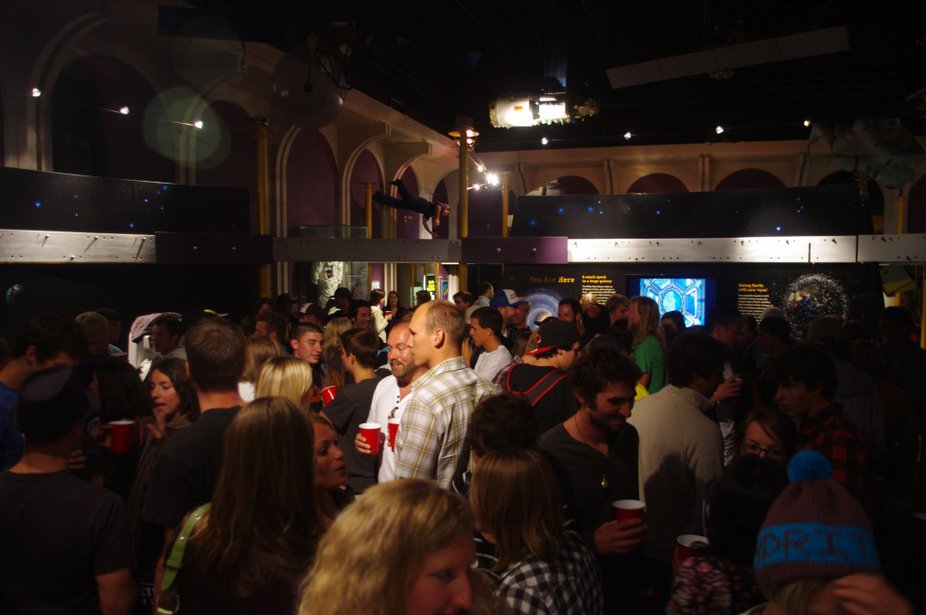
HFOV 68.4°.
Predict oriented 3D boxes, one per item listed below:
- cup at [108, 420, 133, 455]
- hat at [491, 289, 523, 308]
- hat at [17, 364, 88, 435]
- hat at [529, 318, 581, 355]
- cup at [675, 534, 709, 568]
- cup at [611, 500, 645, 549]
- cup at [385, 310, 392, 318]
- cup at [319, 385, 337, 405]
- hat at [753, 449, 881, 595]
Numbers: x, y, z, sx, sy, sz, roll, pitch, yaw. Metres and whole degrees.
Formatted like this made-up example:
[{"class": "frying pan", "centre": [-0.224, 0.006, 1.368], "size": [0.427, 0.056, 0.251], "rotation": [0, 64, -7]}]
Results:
[{"class": "cup", "centre": [-2.233, 0.843, 4.559], "size": [0.207, 0.208, 0.141], "rotation": [0, 1, 3]}, {"class": "hat", "centre": [0.525, -0.113, 8.787], "size": [0.312, 0.178, 0.230], "rotation": [-3, 3, 8]}, {"class": "hat", "centre": [-2.331, 0.516, 3.841], "size": [0.355, 0.293, 0.479], "rotation": [-9, 28, -25]}, {"class": "hat", "centre": [0.744, 0.227, 5.396], "size": [0.317, 0.186, 0.224], "rotation": [-3, 5, -9]}, {"class": "cup", "centre": [1.263, 1.343, 3.814], "size": [0.170, 0.179, 0.176], "rotation": [7, -16, 2]}, {"class": "cup", "centre": [0.925, 1.221, 3.845], "size": [0.263, 0.193, 0.271], "rotation": [0, -15, 0]}, {"class": "cup", "centre": [-1.329, 0.106, 12.075], "size": [0.107, 0.128, 0.111], "rotation": [3, -2, 0]}, {"class": "cup", "centre": [-1.107, 0.704, 5.538], "size": [0.172, 0.140, 0.153], "rotation": [-17, -17, 34]}, {"class": "hat", "centre": [1.635, 0.976, 3.318], "size": [0.588, 0.563, 0.456], "rotation": [12, -2, -29]}]
